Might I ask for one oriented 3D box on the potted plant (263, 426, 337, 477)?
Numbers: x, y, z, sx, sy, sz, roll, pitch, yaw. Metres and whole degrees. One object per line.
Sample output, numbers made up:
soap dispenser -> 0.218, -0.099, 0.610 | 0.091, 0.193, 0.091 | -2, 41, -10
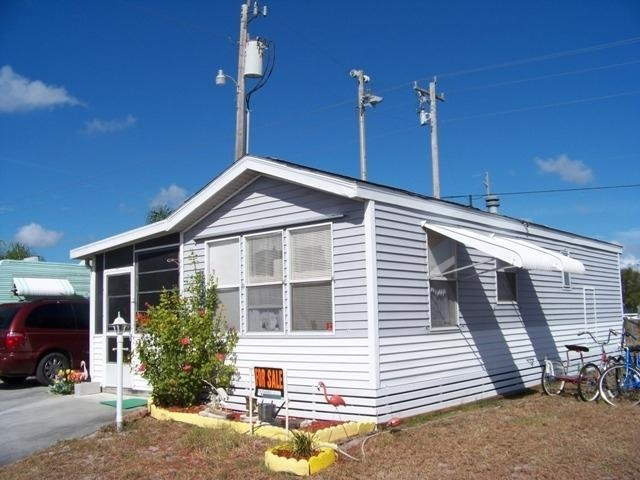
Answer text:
potted plant -> -0.226, 3.068, 8.812 | 0.630, 0.456, 0.656 | -7, -11, 36
